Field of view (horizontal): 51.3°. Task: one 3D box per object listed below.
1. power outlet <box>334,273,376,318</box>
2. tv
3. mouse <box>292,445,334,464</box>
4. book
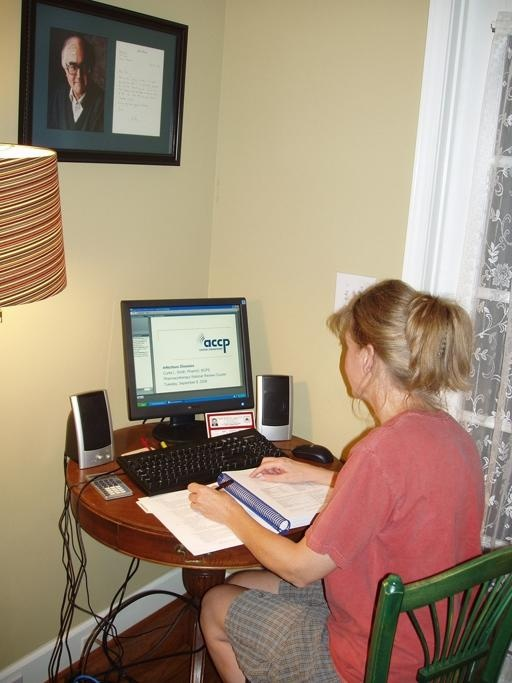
[{"bbox_3d":[0.247,-0.120,1.312,0.120,0.140,0.011,28,34,36],"label":"power outlet"},{"bbox_3d":[-0.211,0.085,1.595,0.405,0.444,0.198,-3,5,-28],"label":"tv"},{"bbox_3d":[0.172,0.307,1.510,0.090,0.030,0.053,10,12,25],"label":"mouse"},{"bbox_3d":[-0.059,0.364,1.129,0.255,0.028,0.171,-9,20,-38],"label":"book"}]
